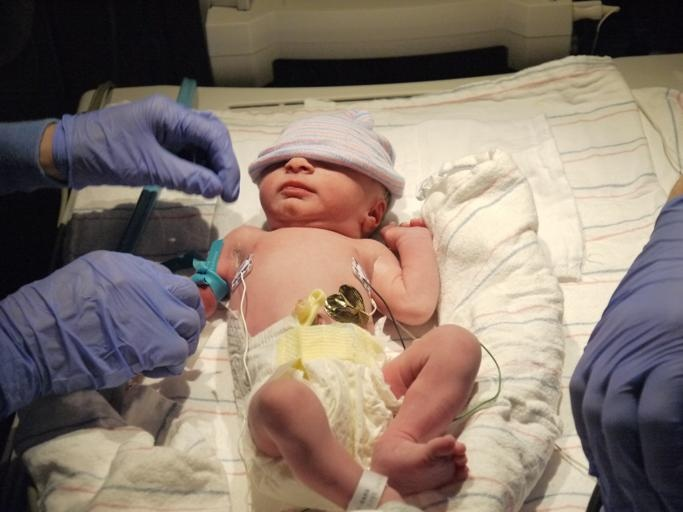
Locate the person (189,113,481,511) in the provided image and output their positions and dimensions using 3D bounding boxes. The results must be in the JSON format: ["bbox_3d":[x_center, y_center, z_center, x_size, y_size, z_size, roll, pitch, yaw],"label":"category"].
[{"bbox_3d":[-0.014,0.096,1.678,0.725,0.670,1.048,-6,27,-14],"label":"person"}]

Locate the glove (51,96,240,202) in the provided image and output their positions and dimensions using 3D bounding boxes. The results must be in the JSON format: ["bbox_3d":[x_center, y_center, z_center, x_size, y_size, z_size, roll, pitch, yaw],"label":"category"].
[{"bbox_3d":[-0.598,-0.328,1.875,0.476,0.233,0.333,1,59,-27],"label":"glove"}]
